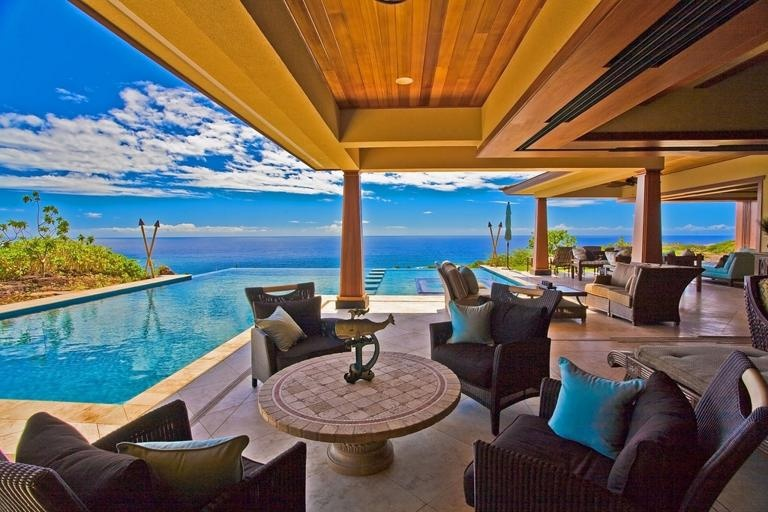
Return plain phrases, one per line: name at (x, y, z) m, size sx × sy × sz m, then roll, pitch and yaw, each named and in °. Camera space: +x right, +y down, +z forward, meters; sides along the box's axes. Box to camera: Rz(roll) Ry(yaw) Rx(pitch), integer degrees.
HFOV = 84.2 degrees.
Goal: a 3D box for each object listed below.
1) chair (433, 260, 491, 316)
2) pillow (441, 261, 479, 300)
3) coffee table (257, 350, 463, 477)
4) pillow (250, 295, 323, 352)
chair at (1.228, 0.469, 6.881) m, size 0.922 × 0.488 × 1.602 m, roll 1°, pitch 2°, yaw -2°
pillow at (1.351, 0.440, 7.562) m, size 0.477 × 0.277 × 0.986 m, roll 5°, pitch 0°, yaw 0°
coffee table at (-0.218, 1.186, 3.695) m, size 1.404 × 0.364 × 1.177 m, roll -1°, pitch 8°, yaw -4°
pillow at (-1.165, 0.788, 4.704) m, size 0.478 × 0.429 × 0.541 m, roll -1°, pitch 3°, yaw 7°
